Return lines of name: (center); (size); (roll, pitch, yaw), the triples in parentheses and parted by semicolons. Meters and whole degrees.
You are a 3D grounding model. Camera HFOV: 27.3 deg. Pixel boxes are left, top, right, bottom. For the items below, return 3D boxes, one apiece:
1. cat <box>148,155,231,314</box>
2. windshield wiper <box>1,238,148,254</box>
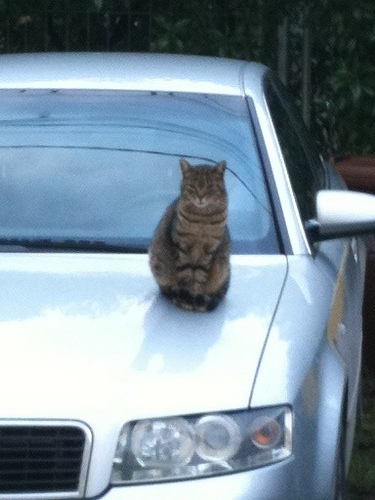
cat: (0.025, -0.080, 2.373); (0.299, 0.385, 0.607); (1, 17, -6)
windshield wiper: (-0.330, -0.012, 2.308); (0.462, 0.040, 0.039); (0, -4, -16)
